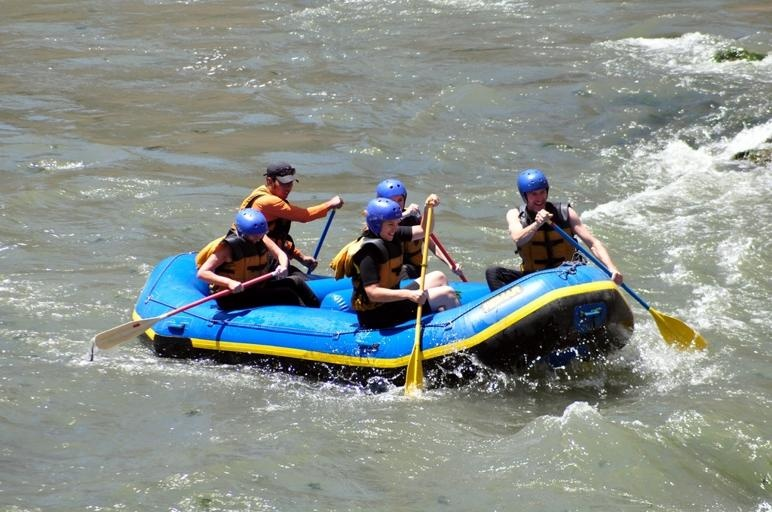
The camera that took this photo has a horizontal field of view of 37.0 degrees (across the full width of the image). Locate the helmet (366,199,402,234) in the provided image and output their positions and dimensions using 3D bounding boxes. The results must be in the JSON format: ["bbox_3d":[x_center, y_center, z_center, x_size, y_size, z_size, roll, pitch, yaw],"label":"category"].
[{"bbox_3d":[-0.019,-0.538,15.855,0.498,0.502,0.265,-4,31,-1],"label":"helmet"}]

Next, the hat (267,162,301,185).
[{"bbox_3d":[-1.587,-1.242,17.316,0.527,0.200,0.328,0,3,24],"label":"hat"}]

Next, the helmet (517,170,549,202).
[{"bbox_3d":[2.115,-1.018,16.434,0.402,0.515,0.579,1,28,8],"label":"helmet"}]

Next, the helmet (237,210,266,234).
[{"bbox_3d":[-1.955,-0.493,16.558,0.385,0.351,0.396,-16,31,-22],"label":"helmet"}]

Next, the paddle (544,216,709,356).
[{"bbox_3d":[3.570,0.515,16.926,3.979,0.480,0.258,30,8,-7],"label":"paddle"}]
